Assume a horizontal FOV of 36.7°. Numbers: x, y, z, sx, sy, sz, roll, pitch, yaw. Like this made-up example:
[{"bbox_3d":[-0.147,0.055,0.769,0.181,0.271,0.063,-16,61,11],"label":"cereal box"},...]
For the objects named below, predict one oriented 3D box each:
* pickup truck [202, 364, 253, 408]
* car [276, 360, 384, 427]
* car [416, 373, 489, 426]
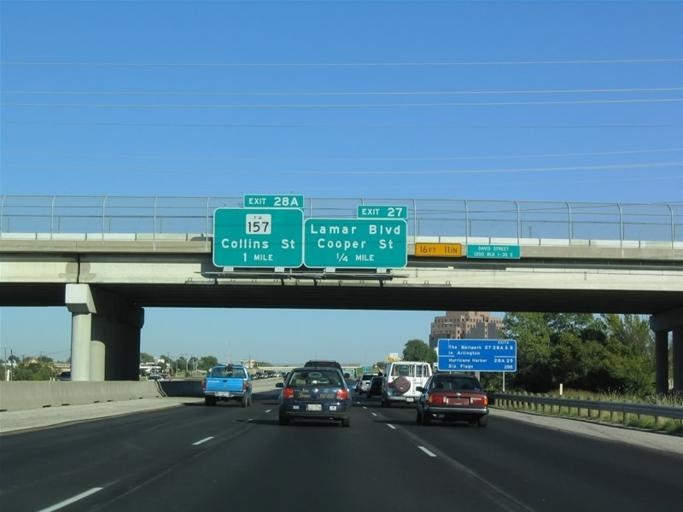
[{"bbox_3d":[-6.068,6.874,55.377,2.460,2.329,2.338,0,-9,-9],"label":"pickup truck"},{"bbox_3d":[-0.532,5.400,39.908,2.006,1.956,4.745,-1,-5,1],"label":"car"},{"bbox_3d":[4.392,5.794,41.084,2.408,2.141,4.676,3,-5,-3],"label":"car"}]
